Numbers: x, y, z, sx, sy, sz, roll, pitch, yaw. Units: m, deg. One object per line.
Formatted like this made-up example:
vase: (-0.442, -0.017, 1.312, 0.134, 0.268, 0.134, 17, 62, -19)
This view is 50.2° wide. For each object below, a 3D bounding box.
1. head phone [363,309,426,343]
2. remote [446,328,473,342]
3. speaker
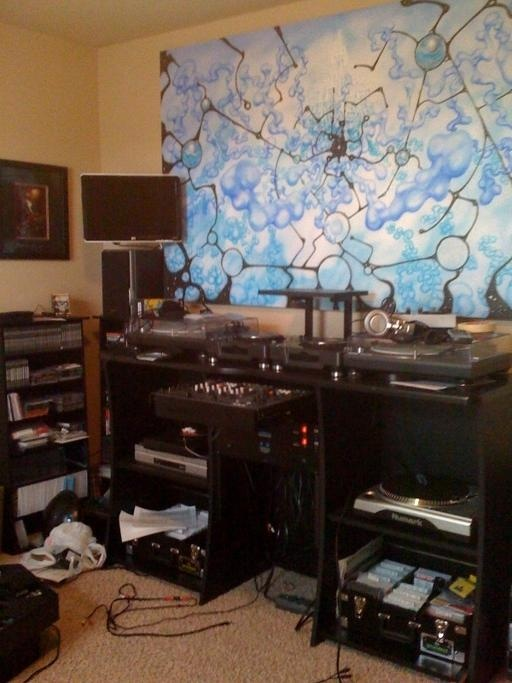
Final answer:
head phone: (0.436, -0.044, 1.738, 0.092, 0.075, 0.152, 3, -5, 30)
remote: (0.621, -0.019, 1.666, 0.054, 0.025, 0.040, 5, 2, 44)
speaker: (-0.663, -0.311, 2.997, 0.346, 0.382, 0.190, -2, 2, -16)
